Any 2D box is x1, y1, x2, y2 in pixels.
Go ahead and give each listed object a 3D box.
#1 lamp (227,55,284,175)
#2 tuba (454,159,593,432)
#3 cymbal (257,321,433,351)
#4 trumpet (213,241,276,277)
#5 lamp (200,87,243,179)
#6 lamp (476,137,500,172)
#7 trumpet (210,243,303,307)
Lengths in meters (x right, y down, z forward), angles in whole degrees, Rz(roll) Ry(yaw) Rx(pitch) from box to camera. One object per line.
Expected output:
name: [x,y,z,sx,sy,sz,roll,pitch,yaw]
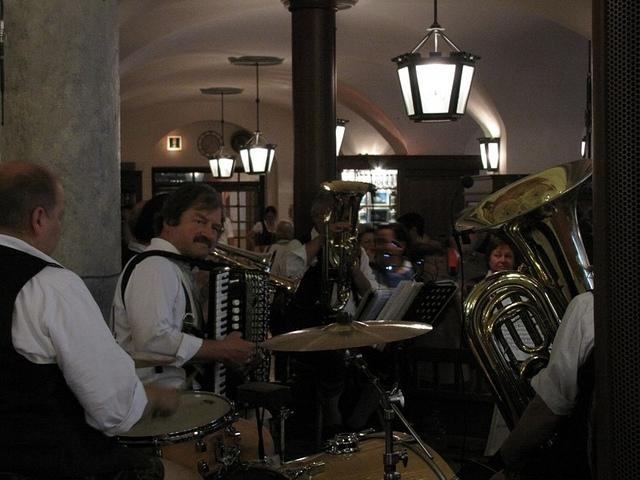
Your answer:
lamp: [-0.940,-1.850,10.372,0.827,1.611,0.926,-1,6,-13]
tuba: [0.923,0.193,3.273,0.552,1.173,0.592,4,3,27]
cymbal: [0.119,0.389,2.870,0.686,0.093,0.293,-2,3,-16]
trumpet: [-0.471,0.104,4.038,0.345,0.085,0.157,17,-40,7]
lamp: [-1.774,-1.944,12.727,0.725,1.539,0.734,0,6,-3]
lamp: [2.227,-1.129,9.171,0.316,0.467,0.313,-2,3,7]
trumpet: [-0.468,0.144,4.038,0.613,0.293,0.187,21,-7,-3]
